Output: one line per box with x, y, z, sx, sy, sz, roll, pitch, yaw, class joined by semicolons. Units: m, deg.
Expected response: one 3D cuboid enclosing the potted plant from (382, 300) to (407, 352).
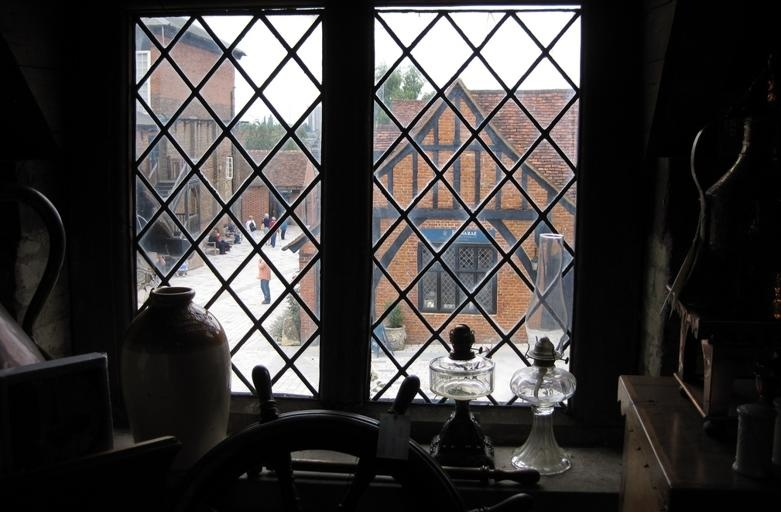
0.009;0.240;2.577;0.088;0.166;0.092;0;-1;12;potted plant

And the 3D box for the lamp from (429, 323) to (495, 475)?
0.243;0.452;2.373;0.195;0.436;0.253;-9;-16;43;lamp

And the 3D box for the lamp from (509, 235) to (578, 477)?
0.499;0.316;2.449;0.201;0.784;0.233;0;-11;10;lamp

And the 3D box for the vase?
-0.636;0.360;2.481;0.447;0.761;0.470;0;3;-16;vase
